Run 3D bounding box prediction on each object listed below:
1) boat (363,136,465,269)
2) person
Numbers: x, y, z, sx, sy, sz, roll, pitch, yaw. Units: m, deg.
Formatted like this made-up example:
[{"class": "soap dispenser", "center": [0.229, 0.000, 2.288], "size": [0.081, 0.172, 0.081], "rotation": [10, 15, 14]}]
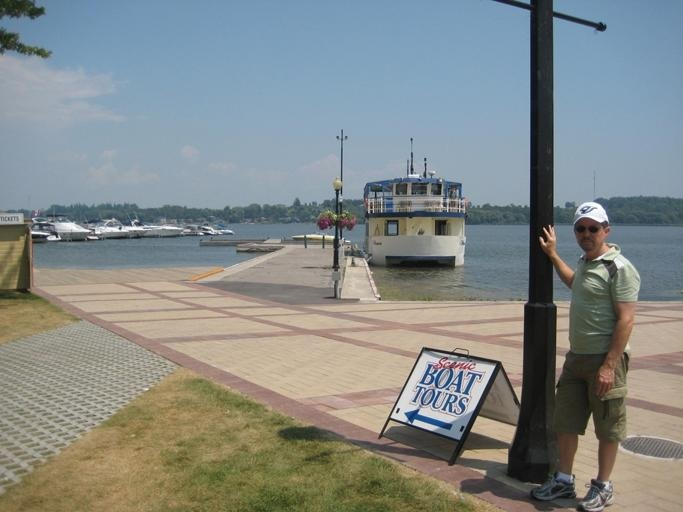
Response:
[{"class": "boat", "center": [5.428, -2.782, 45.877], "size": [7.008, 7.433, 5.072], "rotation": [2, 6, 7]}, {"class": "person", "center": [2.467, 0.981, 6.260], "size": [0.778, 2.964, 0.512], "rotation": [4, 7, 23]}]
